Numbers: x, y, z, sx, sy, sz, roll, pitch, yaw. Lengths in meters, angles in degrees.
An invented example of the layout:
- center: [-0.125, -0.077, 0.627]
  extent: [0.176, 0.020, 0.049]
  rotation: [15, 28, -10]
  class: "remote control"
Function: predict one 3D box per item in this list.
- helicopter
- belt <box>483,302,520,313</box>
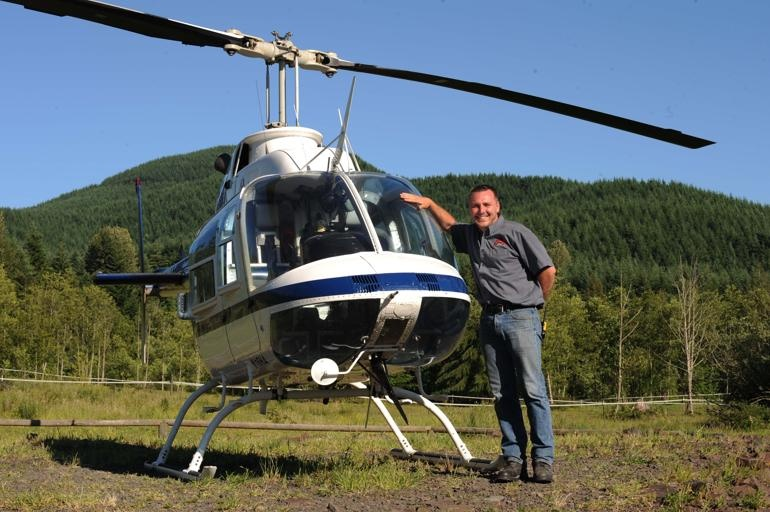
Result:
- center: [-1.400, 0.314, 14.250]
  extent: [8.711, 4.398, 7.760]
  rotation: [6, -9, -33]
  class: "helicopter"
- center: [1.760, 0.793, 12.554]
  extent: [0.556, 0.163, 0.112]
  rotation: [3, -7, 12]
  class: "belt"
